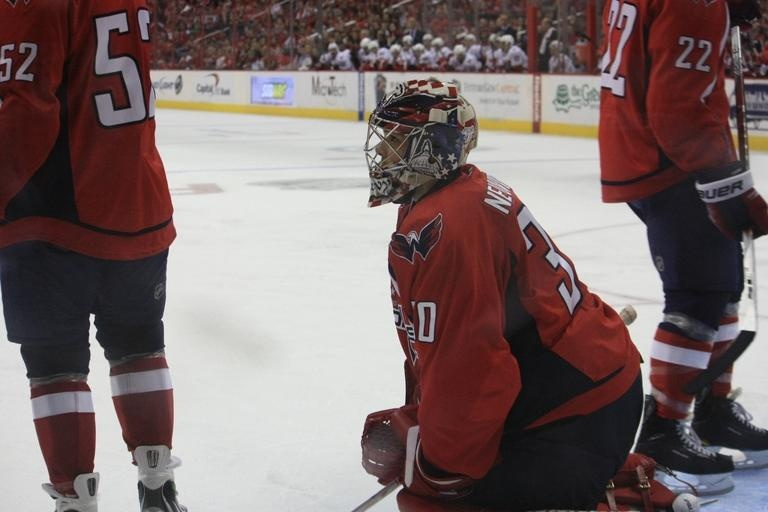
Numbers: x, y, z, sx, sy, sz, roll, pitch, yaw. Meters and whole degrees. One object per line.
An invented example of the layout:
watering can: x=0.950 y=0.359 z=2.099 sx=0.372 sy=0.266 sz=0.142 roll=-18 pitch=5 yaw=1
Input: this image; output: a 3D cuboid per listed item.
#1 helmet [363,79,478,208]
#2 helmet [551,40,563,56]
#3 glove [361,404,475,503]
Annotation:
helmet: x=0.113 y=-0.336 z=2.814 sx=0.352 sy=0.322 sz=0.276 roll=-6 pitch=10 yaw=-8
helmet: x=2.061 y=-2.495 z=11.691 sx=0.178 sy=0.188 sz=0.144 roll=7 pitch=11 yaw=17
glove: x=0.080 y=0.580 z=2.804 sx=0.296 sy=0.221 sz=0.129 roll=13 pitch=-29 yaw=-11
